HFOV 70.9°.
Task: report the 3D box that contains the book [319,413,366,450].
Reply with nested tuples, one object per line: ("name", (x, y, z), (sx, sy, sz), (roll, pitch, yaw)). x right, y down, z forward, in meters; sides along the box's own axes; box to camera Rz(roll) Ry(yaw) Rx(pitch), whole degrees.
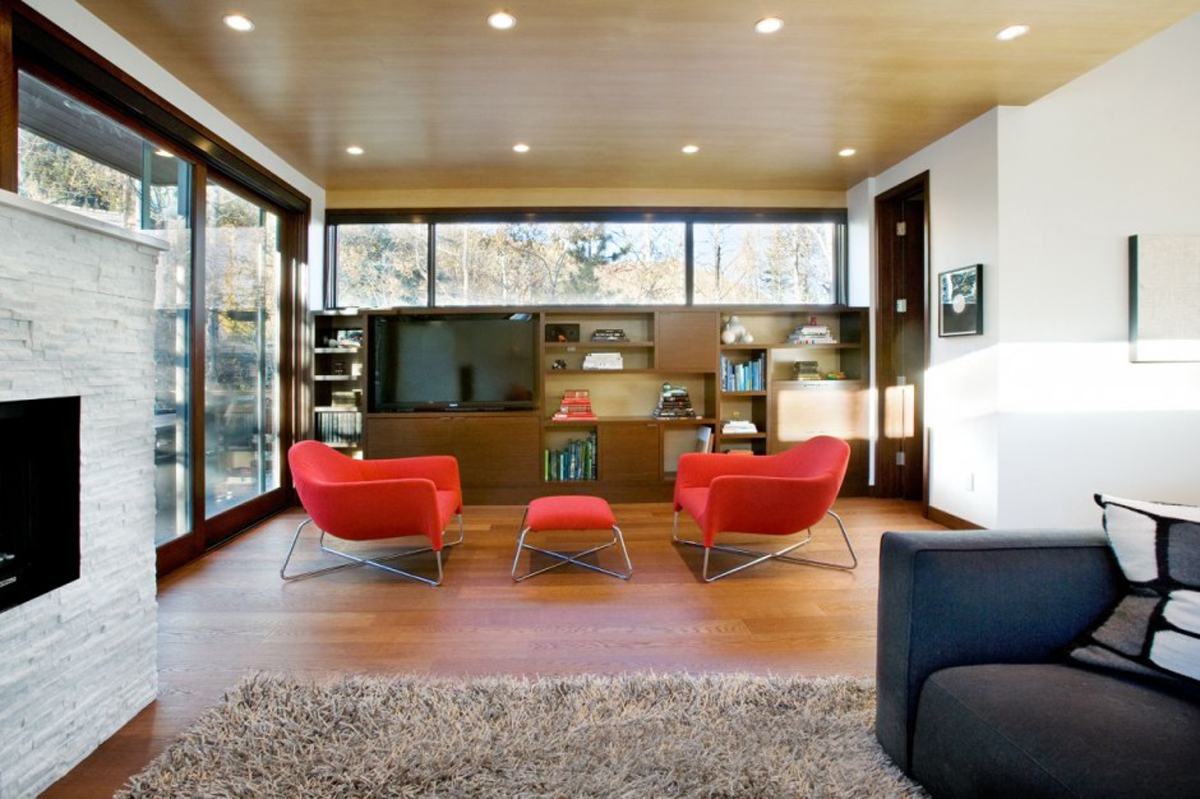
("book", (-2.223, 0.267, 7.171), (0.333, 0.262, 0.111), (1, 2, 0))

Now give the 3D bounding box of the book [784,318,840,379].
("book", (1.855, -0.416, 7.725), (0.639, 0.662, 0.542), (0, 0, 4))

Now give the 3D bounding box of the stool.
("stool", (-0.212, 0.876, 5.746), (0.811, 0.438, 0.816), (-1, 10, -4))

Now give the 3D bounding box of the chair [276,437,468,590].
("chair", (-1.509, 0.679, 5.587), (1.050, 0.746, 1.017), (1, 0, -8))

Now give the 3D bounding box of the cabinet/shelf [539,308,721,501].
("cabinet/shelf", (0.238, 0.035, 7.305), (1.804, 1.833, 0.545), (0, -4, -2))

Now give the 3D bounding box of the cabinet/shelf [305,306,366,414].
("cabinet/shelf", (-2.269, -0.354, 7.298), (0.469, 0.847, 0.412), (-3, 11, -15))
